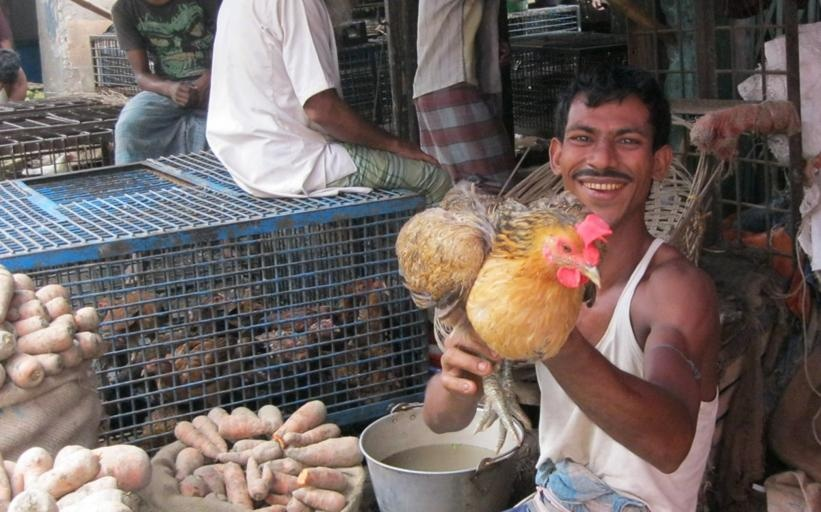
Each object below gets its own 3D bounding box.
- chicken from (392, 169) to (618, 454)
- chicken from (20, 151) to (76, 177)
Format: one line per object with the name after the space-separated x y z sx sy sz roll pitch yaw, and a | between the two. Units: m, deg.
0.364 0.055 3.528 0.799 0.617 0.407 11 23 38 | chicken
-3.269 -0.855 7.929 0.478 0.240 0.959 -9 18 -21 | chicken
